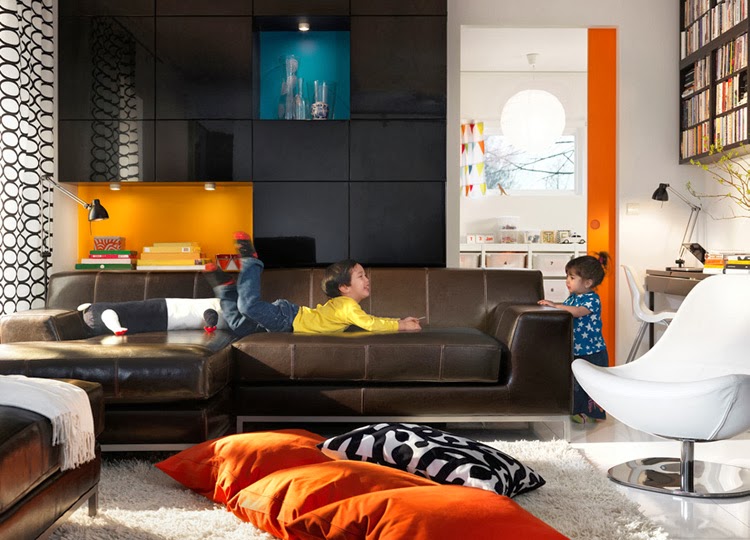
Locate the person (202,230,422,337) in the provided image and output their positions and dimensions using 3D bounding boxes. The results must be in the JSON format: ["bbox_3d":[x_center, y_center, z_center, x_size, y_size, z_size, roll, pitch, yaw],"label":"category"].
[{"bbox_3d":[-0.389,0.113,4.181,1.293,0.572,0.379,1,-4,-3],"label":"person"}]

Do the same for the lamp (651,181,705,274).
[{"bbox_3d":[2.525,-0.385,5.618,0.440,0.694,0.357,2,5,22],"label":"lamp"}]

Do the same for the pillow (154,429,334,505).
[{"bbox_3d":[-0.601,0.822,2.951,0.455,0.132,0.429,2,-4,-41],"label":"pillow"}]

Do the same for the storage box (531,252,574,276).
[{"bbox_3d":[1.755,-0.071,6.713,0.374,0.223,0.359,0,2,1],"label":"storage box"}]

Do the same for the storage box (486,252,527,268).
[{"bbox_3d":[1.339,-0.105,6.829,0.323,0.280,0.169,0,0,5],"label":"storage box"}]
